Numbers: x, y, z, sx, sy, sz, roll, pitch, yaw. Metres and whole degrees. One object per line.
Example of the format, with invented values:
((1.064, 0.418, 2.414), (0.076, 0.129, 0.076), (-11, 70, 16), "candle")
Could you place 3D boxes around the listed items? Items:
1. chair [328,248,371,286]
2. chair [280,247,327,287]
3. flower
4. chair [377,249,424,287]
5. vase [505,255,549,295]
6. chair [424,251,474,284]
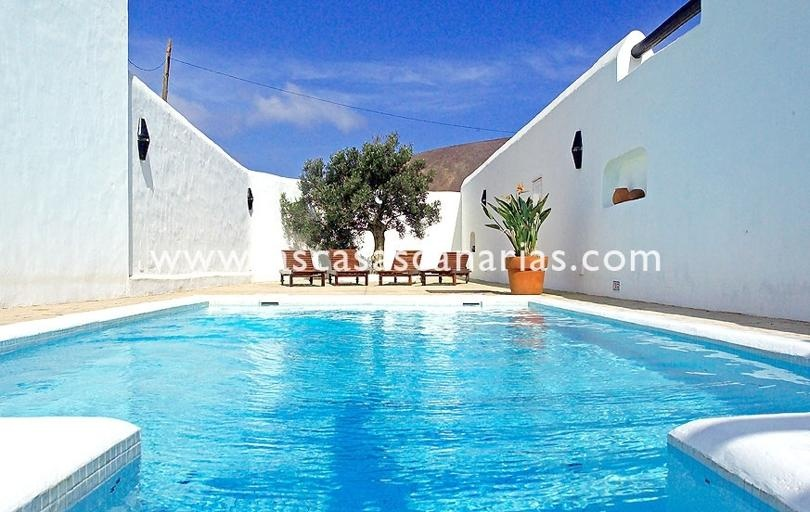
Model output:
((-1.701, 0.330, 14.199), (1.006, 0.958, 1.366), (1, -4, -11), "chair")
((-3.029, 0.289, 13.793), (1.285, 0.959, 1.587), (0, 3, -39), "chair")
((2.417, -0.735, 9.711), (1.210, 1.321, 1.194), (-2, -5, 9), "flower")
((-0.134, 0.306, 13.647), (0.854, 0.893, 1.584), (6, 2, 7), "chair")
((2.514, 0.345, 9.740), (1.011, 0.775, 0.967), (2, 3, 13), "vase")
((1.223, 0.312, 13.974), (1.275, 0.925, 1.608), (-1, -2, 18), "chair")
